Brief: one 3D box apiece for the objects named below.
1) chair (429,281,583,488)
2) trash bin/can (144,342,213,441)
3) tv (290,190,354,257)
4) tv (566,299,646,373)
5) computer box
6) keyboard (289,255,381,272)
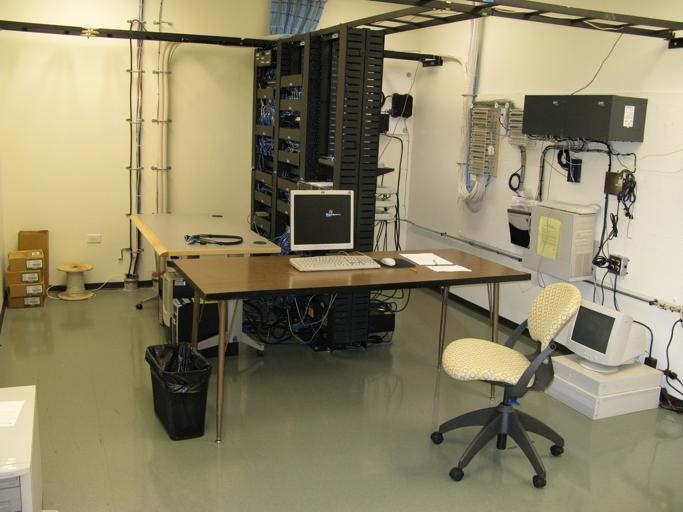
[{"bbox_3d":[1.059,0.781,3.485,0.899,1.134,0.874,1,11,15],"label":"chair"},{"bbox_3d":[-1.105,0.975,3.630,0.298,0.390,0.529,0,2,-31],"label":"trash bin/can"},{"bbox_3d":[-0.146,-0.261,4.036,0.518,0.460,0.047,0,1,-17],"label":"tv"},{"bbox_3d":[2.099,0.664,4.214,0.575,0.478,0.585,12,8,31],"label":"tv"},{"bbox_3d":[-1.246,0.588,4.652,0.530,0.405,0.457,8,-9,18],"label":"computer box"},{"bbox_3d":[-0.046,0.050,4.007,0.670,0.082,0.320,-5,16,-15],"label":"keyboard"}]
